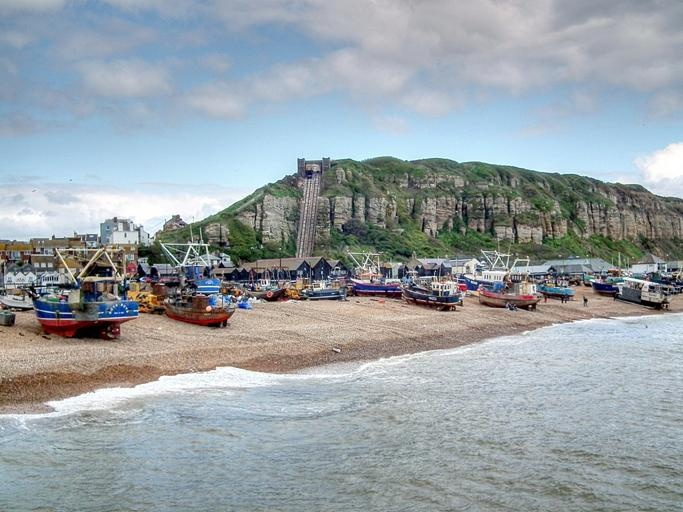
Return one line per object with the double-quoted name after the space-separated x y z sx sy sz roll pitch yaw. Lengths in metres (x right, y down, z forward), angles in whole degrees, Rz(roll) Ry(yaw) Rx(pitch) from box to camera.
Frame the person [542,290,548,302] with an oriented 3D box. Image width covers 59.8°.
28.186 5.566 82.241 0.488 1.279 0.594 7 9 16 "person"
